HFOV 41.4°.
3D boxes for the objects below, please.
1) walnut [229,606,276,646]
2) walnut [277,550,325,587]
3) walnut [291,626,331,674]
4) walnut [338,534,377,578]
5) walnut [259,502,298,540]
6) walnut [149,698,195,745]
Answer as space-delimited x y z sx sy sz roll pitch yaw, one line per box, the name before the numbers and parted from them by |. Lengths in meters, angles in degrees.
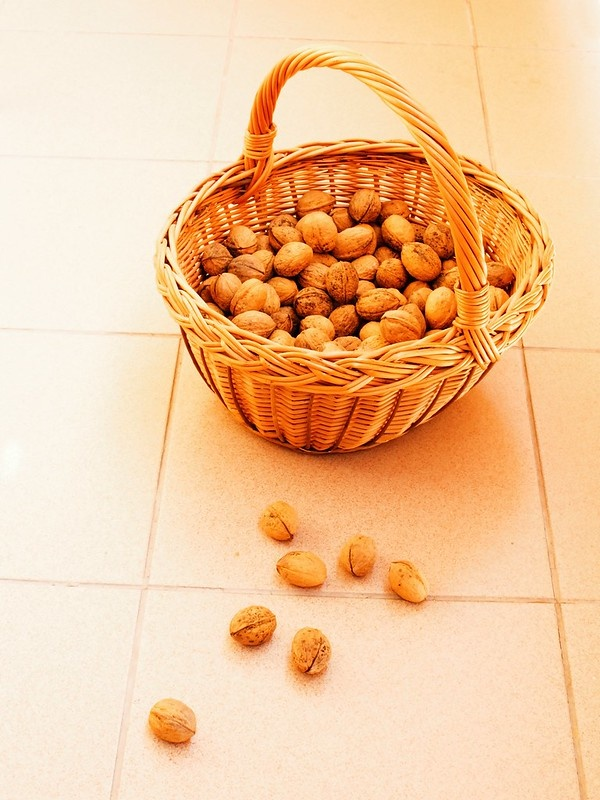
walnut | -0.058 0.282 0.996 0.051 0.048 0.047 17 50 8
walnut | -0.001 0.225 1.064 0.060 0.034 0.040 13 66 -2
walnut | 0.016 0.298 0.960 0.047 0.032 0.053 -3 79 -7
walnut | 0.080 0.203 1.060 0.035 0.047 0.057 31 64 -36
walnut | -0.028 0.168 1.087 0.045 0.049 0.048 -19 54 -21
walnut | -0.147 0.369 0.918 0.056 0.031 0.045 26 70 12
